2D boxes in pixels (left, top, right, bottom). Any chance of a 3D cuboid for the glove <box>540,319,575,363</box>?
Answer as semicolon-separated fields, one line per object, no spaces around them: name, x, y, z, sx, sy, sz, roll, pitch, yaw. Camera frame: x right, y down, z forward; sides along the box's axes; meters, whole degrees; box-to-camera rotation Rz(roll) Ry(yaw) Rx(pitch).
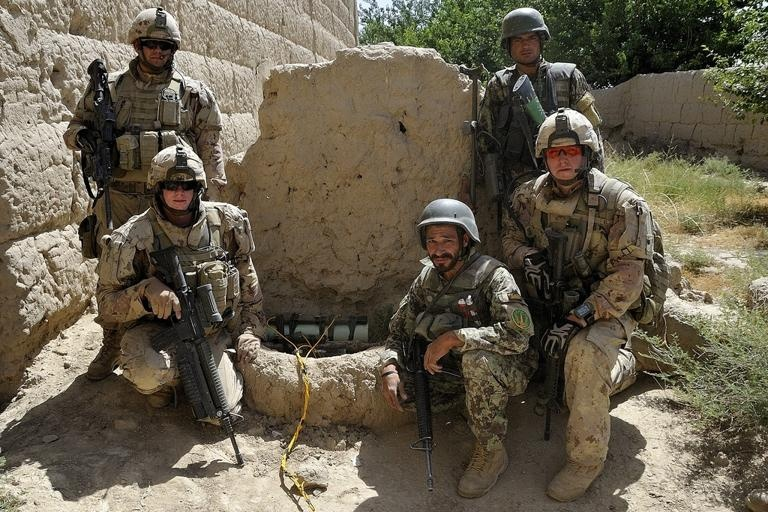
glove;1.336;0.627;5.394;0.339;0.099;0.200;-51;27;-8

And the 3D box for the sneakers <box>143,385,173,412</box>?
sneakers;-1.875;1.171;5.798;0.237;0.258;0.166;4;24;-12

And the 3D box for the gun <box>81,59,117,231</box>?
gun;-2.549;-0.988;6.188;0.224;1.719;0.681;3;-8;-39

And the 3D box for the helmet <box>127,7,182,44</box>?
helmet;-2.085;-2.083;6.277;0.324;0.252;0.365;-3;21;-24

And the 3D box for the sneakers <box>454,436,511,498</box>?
sneakers;0.738;1.619;5.449;0.206;0.285;0.598;10;30;33

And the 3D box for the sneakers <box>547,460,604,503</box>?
sneakers;1.482;1.722;5.371;0.453;0.188;0.222;-34;56;-9

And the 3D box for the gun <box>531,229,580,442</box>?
gun;1.453;0.578;5.580;0.185;1.828;0.616;3;5;-11

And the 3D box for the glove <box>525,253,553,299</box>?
glove;1.261;0.162;5.696;0.198;0.344;0.097;-15;-7;32

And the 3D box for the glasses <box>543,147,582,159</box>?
glasses;1.426;-0.832;5.543;0.135;0.039;0.140;-6;-11;28

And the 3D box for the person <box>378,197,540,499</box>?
person;0.557;0.661;5.506;1.162;2.054;0.914;15;23;26

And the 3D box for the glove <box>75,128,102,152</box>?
glove;-2.627;-1.030;6.123;0.175;0.250;0.110;-4;-6;10

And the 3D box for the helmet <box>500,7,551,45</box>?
helmet;1.340;-2.245;6.729;0.345;0.247;0.377;-4;19;8

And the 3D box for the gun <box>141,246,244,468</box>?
gun;-1.598;0.843;5.628;0.617;1.727;0.282;-15;-2;9

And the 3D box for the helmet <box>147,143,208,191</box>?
helmet;-1.720;-0.725;5.778;0.491;0.424;0.490;16;19;37

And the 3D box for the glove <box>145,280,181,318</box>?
glove;-1.772;0.344;5.522;0.238;0.327;0.094;-33;-10;12
